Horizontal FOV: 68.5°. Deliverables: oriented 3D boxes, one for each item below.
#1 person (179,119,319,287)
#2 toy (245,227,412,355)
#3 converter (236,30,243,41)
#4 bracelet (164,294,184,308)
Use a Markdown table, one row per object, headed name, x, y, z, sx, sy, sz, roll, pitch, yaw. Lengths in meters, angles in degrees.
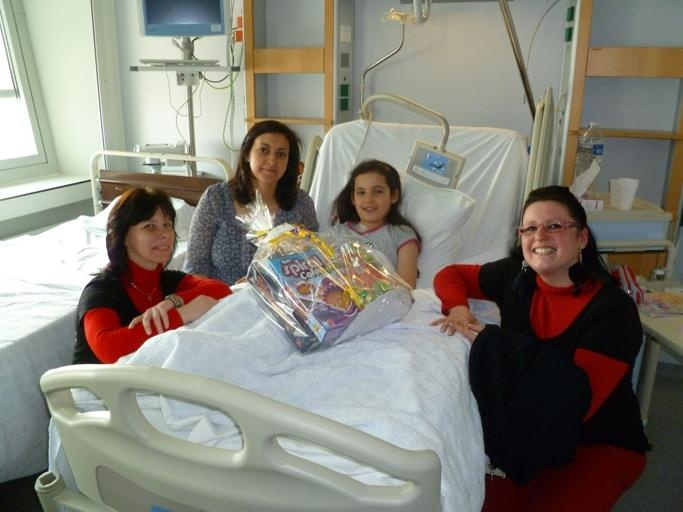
| name | x | y | z | sx | sy | sz | roll | pitch | yaw |
| --- | --- | --- | --- | --- | --- | --- | --- | --- | --- |
| person | -0.397 | -0.189 | 2.342 | 0.619 | 0.840 | 0.464 | 6 | 0 | -23 |
| toy | -0.060 | 0.081 | 1.479 | 0.359 | 0.170 | 0.445 | -21 | 50 | -32 |
| converter | -0.781 | -1.694 | 3.834 | 0.038 | 0.069 | 0.153 | -9 | 22 | -26 |
| bracelet | -0.549 | 0.144 | 1.654 | 0.043 | 0.046 | 0.048 | 24 | 24 | 4 |
